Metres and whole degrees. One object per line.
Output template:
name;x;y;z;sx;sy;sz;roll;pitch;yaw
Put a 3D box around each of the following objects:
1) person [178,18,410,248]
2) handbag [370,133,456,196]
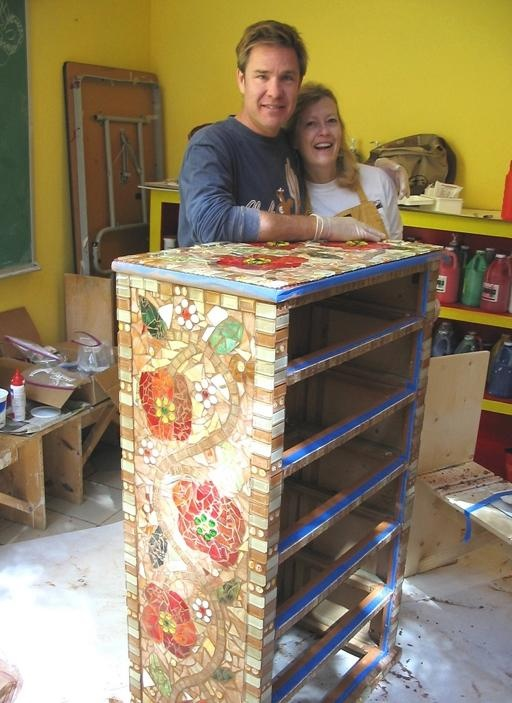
person;0.055;-0.602;2.043;0.612;0.741;0.606;13;21;35
handbag;0.878;-1.082;3.909;0.616;0.205;0.454;-5;22;-14
